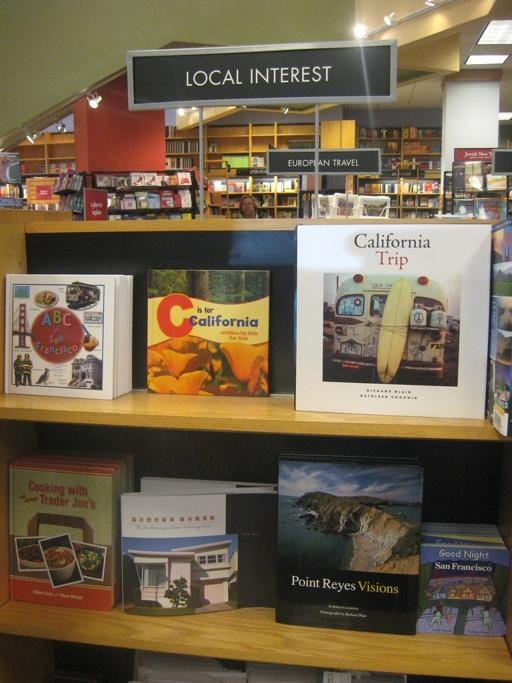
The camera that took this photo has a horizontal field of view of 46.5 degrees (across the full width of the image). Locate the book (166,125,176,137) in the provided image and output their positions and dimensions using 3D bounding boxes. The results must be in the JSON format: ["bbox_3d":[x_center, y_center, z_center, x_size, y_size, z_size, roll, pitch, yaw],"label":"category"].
[{"bbox_3d":[-1.708,-4.181,12.049,0.253,0.242,0.184,0,3,3],"label":"book"}]

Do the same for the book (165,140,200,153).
[{"bbox_3d":[-1.464,-3.893,12.002,0.664,0.280,0.193,4,16,21],"label":"book"}]

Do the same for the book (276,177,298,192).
[{"bbox_3d":[0.599,-3.113,11.983,0.382,0.289,0.692,-2,15,1],"label":"book"}]

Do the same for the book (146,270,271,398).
[{"bbox_3d":[-0.106,-0.015,1.417,0.297,0.295,0.024,2,1,1],"label":"book"}]

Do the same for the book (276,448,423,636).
[{"bbox_3d":[0.211,0.447,1.315,0.369,0.425,0.055,2,4,8],"label":"book"}]

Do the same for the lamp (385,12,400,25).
[{"bbox_3d":[1.440,-3.428,6.377,0.132,0.105,0.189,1,16,12],"label":"lamp"}]

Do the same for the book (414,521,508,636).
[{"bbox_3d":[0.423,0.513,1.411,0.246,0.259,0.193,1,5,3],"label":"book"}]

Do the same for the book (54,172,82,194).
[{"bbox_3d":[-2.834,-2.356,8.971,0.287,0.287,0.728,-13,19,-35],"label":"book"}]

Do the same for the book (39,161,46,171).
[{"bbox_3d":[-4.269,-3.472,11.912,0.188,0.174,0.044,0,0,21],"label":"book"}]

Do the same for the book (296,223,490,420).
[{"bbox_3d":[0.297,-0.045,1.218,0.388,0.394,0.035,2,0,11],"label":"book"}]

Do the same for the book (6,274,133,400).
[{"bbox_3d":[-0.442,-0.008,1.381,0.278,0.267,0.092,2,4,13],"label":"book"}]

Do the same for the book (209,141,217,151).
[{"bbox_3d":[-0.879,-3.926,12.150,0.218,0.209,0.160,2,12,7],"label":"book"}]
